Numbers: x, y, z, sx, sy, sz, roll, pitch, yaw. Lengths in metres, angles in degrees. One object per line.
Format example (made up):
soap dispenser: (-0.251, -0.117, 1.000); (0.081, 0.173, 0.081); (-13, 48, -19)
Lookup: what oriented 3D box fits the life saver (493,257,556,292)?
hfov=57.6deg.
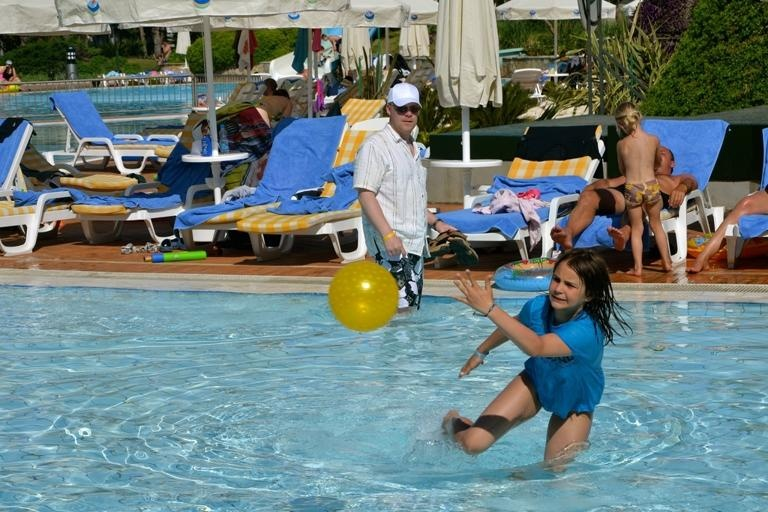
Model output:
life saver: (1.472, 0.188, 7.125); (0.591, 0.282, 0.663); (-1, -6, 13)

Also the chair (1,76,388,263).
chair: (-1.844, -1.084, 9.584); (4.160, 1.960, 2.602); (4, 12, 31)

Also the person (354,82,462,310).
person: (0.240, -0.442, 5.491); (1.011, 1.455, 0.777); (3, 4, 41)

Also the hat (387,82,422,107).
hat: (0.147, -1.188, 5.107); (0.194, 0.179, 0.210); (-8, 12, -22)

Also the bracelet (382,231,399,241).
bracelet: (0.046, -0.153, 5.086); (0.090, 0.067, 0.058); (-6, 12, -17)

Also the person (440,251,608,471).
person: (0.837, 0.615, 3.908); (0.907, 1.328, 0.606); (-1, 13, 12)
